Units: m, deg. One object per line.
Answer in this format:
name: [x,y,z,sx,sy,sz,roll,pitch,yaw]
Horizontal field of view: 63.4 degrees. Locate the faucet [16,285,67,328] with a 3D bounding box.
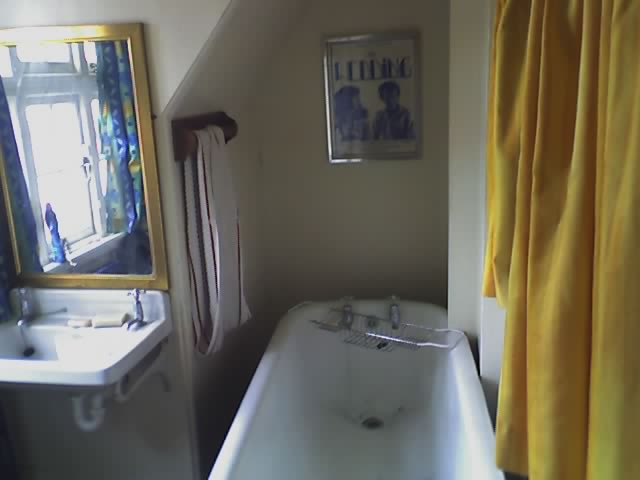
faucet: [-1.100,0.243,2.001,0.163,0.155,0.161,7,10,36]

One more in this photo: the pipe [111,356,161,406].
pipe: [-0.706,0.543,1.971,0.116,0.057,0.236,3,17,11]

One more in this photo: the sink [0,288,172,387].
sink: [-0.851,0.323,1.797,0.491,0.188,0.373,1,26,3]

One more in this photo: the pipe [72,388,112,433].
pipe: [-0.871,0.643,1.961,0.166,0.188,0.038,-1,11,3]

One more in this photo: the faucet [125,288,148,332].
faucet: [-0.681,0.245,1.901,0.105,0.139,0.064,1,17,7]
